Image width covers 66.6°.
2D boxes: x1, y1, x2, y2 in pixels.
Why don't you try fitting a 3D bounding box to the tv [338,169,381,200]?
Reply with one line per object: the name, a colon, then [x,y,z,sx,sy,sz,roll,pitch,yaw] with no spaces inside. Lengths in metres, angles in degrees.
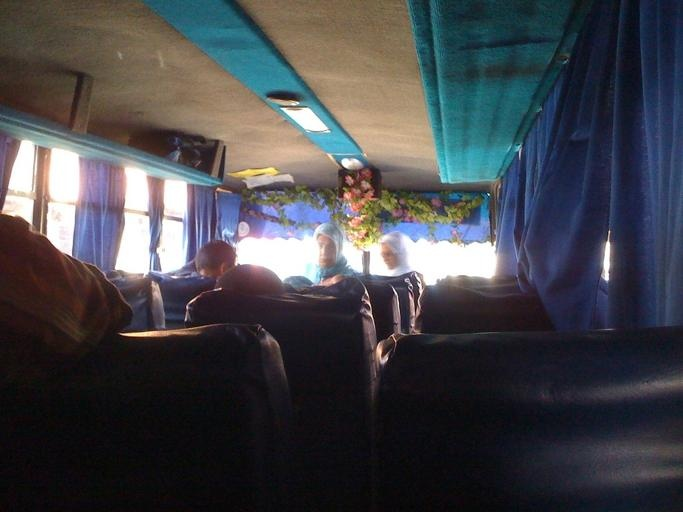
tv: [0.116,-0.806,5.756,0.534,0.330,0.281,-5,13,-32]
